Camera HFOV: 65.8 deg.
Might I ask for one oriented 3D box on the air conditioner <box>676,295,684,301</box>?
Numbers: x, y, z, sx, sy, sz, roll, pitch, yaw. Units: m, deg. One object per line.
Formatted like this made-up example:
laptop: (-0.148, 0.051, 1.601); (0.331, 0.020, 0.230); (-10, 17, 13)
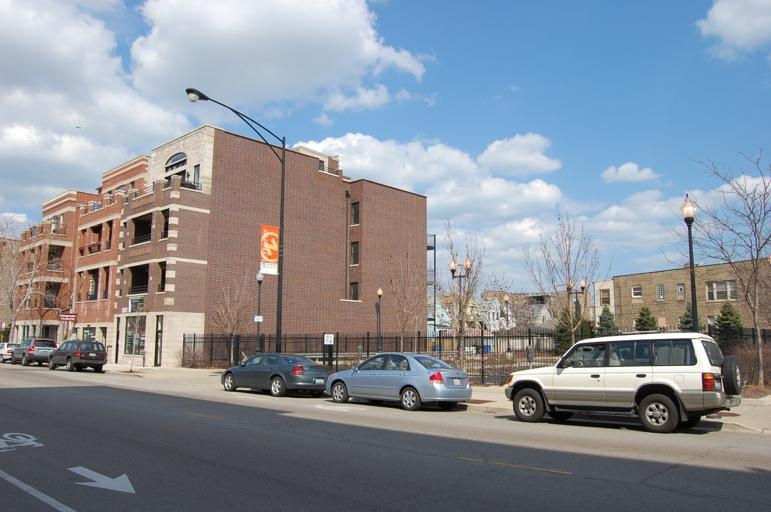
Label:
air conditioner: (27.414, 3.909, 55.377); (0.683, 0.686, 0.379); (-14, -31, 39)

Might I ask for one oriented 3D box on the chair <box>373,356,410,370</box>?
chair: (0.257, 3.709, 20.644); (1.357, 0.570, 0.266); (-15, -16, 42)

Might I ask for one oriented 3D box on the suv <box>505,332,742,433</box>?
suv: (6.995, 3.377, 17.368); (5.445, 2.408, 2.903); (-4, -11, 36)
